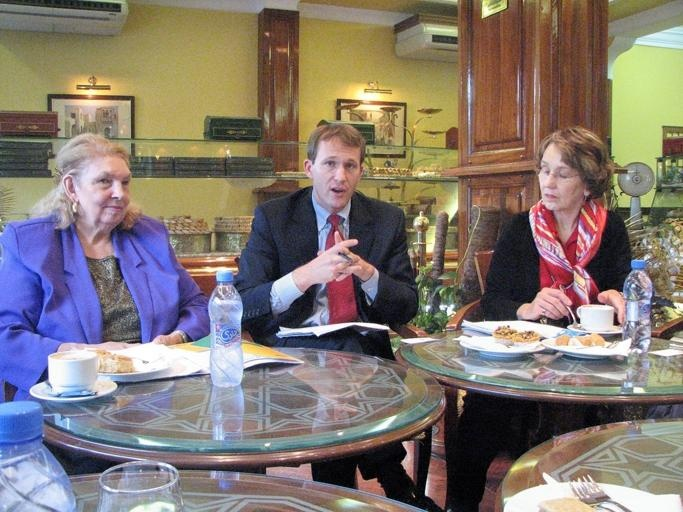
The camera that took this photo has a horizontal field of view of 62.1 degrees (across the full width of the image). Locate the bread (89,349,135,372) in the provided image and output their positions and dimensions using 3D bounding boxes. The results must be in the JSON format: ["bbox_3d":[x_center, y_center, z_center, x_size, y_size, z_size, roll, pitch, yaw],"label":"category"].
[{"bbox_3d":[-0.587,0.267,1.451,0.067,0.029,0.091,4,1,-19],"label":"bread"}]

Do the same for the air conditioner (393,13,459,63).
[{"bbox_3d":[1.168,-3.014,8.000,1.004,0.444,0.706,-1,3,-30],"label":"air conditioner"}]

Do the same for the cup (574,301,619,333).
[{"bbox_3d":[0.852,0.206,1.894,0.115,0.073,0.081,-2,-1,19],"label":"cup"}]

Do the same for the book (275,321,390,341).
[{"bbox_3d":[-0.035,0.247,1.921,0.174,0.037,0.172,-1,7,-34],"label":"book"}]

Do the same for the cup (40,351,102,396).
[{"bbox_3d":[-0.622,0.265,1.307,0.099,0.078,0.108,0,-3,0],"label":"cup"}]

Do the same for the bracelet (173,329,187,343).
[{"bbox_3d":[-0.589,0.289,2.070,0.047,0.041,0.040,21,-16,-21],"label":"bracelet"}]

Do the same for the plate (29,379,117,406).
[{"bbox_3d":[-0.637,0.319,1.332,0.103,0.013,0.098,4,3,8],"label":"plate"}]
